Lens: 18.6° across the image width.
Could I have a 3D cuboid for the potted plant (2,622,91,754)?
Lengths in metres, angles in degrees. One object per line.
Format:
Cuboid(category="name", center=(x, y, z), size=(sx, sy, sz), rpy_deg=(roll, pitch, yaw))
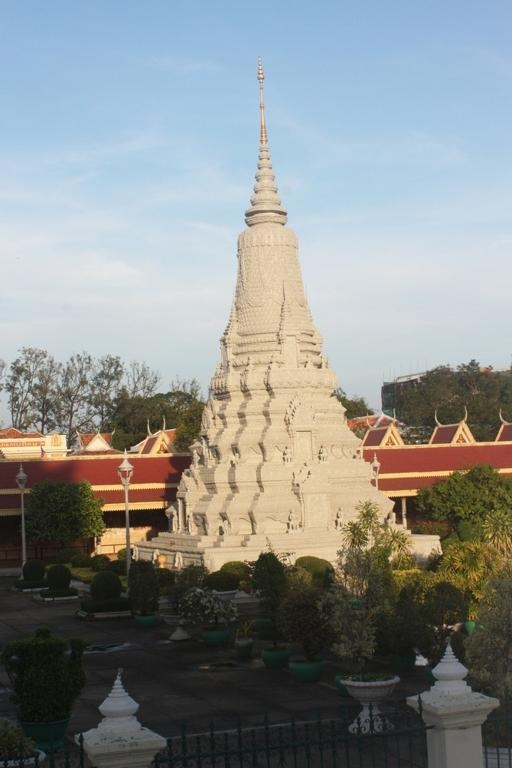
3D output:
Cuboid(category="potted plant", center=(-2.908, 4.275, 21.389), size=(0.987, 1.537, 0.736), rpy_deg=(3, -6, -41))
